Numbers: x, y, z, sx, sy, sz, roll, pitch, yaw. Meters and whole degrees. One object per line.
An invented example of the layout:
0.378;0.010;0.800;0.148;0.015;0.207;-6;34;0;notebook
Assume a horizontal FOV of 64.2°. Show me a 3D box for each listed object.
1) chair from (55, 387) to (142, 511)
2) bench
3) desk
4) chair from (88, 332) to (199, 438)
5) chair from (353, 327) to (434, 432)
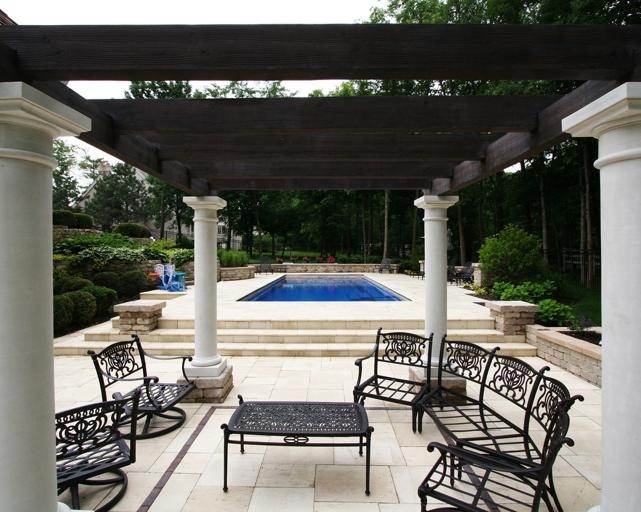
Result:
-1.952;1.677;4.504;0.660;0.999;1.097;-2;2;-26;chair
1.607;1.481;5.170;0.880;0.916;1.900;2;7;-17;bench
-0.213;1.783;4.994;1.377;0.689;0.973;-1;1;0;desk
-1.960;1.456;5.828;1.039;0.894;1.024;5;8;32;chair
0.876;1.457;6.370;0.888;0.880;0.692;7;-23;-18;chair
